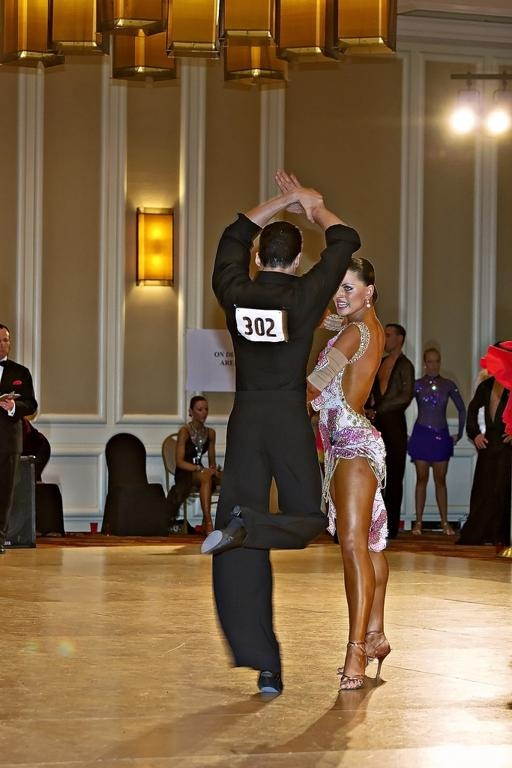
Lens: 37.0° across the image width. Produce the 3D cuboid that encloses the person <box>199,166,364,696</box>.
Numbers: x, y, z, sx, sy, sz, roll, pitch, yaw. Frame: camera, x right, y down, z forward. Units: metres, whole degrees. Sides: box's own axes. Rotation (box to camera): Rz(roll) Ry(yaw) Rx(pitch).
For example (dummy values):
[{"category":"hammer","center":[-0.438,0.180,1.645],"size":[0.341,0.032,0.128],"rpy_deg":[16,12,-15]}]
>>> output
[{"category":"person","center":[-0.022,0.114,1.991],"size":[0.357,1.416,0.536],"rpy_deg":[3,2,42]}]

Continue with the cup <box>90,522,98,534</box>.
[{"category":"cup","center":[-1.617,1.440,7.623],"size":[0.087,0.097,0.090],"rpy_deg":[-1,-3,0]}]

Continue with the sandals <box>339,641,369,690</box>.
[{"category":"sandals","center":[0.253,0.729,1.964],"size":[0.049,0.061,0.152],"rpy_deg":[-3,-8,7]}]

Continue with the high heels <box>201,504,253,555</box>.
[{"category":"high heels","center":[-0.068,0.347,1.810],"size":[0.057,0.067,0.171],"rpy_deg":[24,25,32]}]

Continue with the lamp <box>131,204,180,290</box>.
[{"category":"lamp","center":[-0.932,-1.417,8.028],"size":[0.587,0.771,0.548],"rpy_deg":[0,10,-8]}]

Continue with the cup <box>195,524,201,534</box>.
[{"category":"cup","center":[-0.565,1.413,7.411],"size":[0.067,0.064,0.115],"rpy_deg":[-1,-3,-4]}]

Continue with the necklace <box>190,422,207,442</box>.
[{"category":"necklace","center":[-0.541,0.457,7.145],"size":[0.122,0.176,0.125],"rpy_deg":[-3,-3,-13]}]

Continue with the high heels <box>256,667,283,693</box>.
[{"category":"high heels","center":[0.035,0.744,1.900],"size":[0.061,0.072,0.078],"rpy_deg":[1,1,2]}]

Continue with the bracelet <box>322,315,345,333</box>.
[{"category":"bracelet","center":[0.246,-0.190,2.450],"size":[0.052,0.037,0.082],"rpy_deg":[7,3,-8]}]
